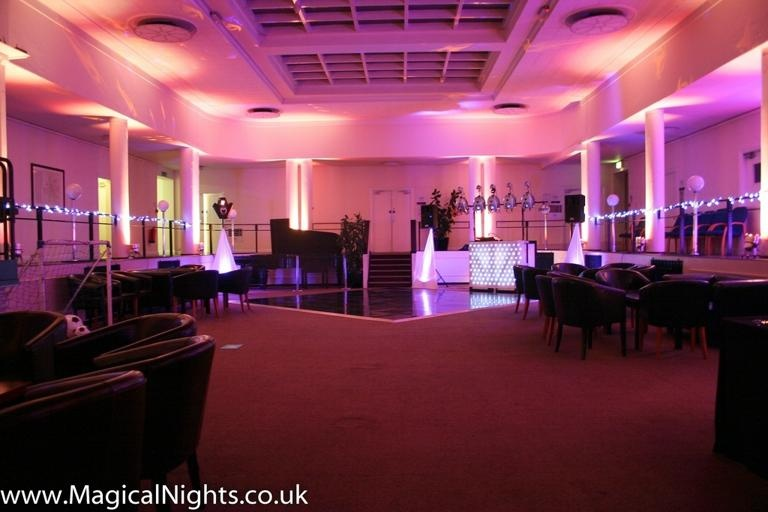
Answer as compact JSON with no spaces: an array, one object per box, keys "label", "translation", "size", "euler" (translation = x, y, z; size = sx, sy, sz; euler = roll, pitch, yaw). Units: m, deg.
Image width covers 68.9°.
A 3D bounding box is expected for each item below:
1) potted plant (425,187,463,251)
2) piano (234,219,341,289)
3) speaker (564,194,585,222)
[{"label":"potted plant","translation":[1.776,-1.075,16.547],"size":[0.818,1.851,1.353],"euler":[0,14,4]},{"label":"piano","translation":[-2.162,-0.022,14.224],"size":[1.845,1.403,2.028],"euler":[-2,4,-7]},{"label":"speaker","translation":[3.986,-0.974,11.727],"size":[0.341,0.612,0.558],"euler":[-3,14,-8]}]
